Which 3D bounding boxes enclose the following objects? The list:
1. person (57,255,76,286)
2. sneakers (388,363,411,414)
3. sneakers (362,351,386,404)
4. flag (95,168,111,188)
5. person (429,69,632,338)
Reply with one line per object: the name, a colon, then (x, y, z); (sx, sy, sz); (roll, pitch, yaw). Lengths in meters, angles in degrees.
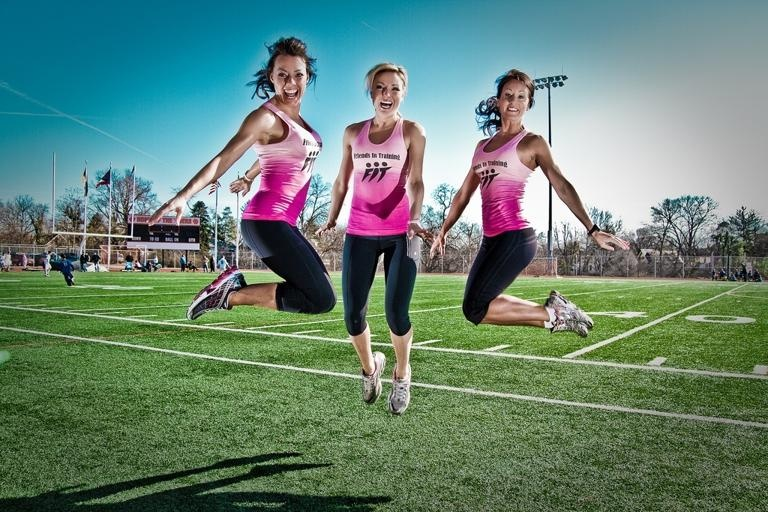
person: (-16.597, 0.777, 25.559); (0.910, 1.541, 0.444); (0, 24, 8)
sneakers: (0.144, 1.200, 4.349); (0.143, 0.140, 0.393); (2, 45, 5)
sneakers: (-0.130, 1.139, 4.614); (0.158, 0.472, 0.213); (-9, -30, 35)
flag: (-26.357, -7.348, 46.298); (0.860, 1.525, 3.826); (0, 1, -34)
person: (1.384, -0.553, 4.874); (1.152, 2.617, 0.385); (0, 0, 8)
